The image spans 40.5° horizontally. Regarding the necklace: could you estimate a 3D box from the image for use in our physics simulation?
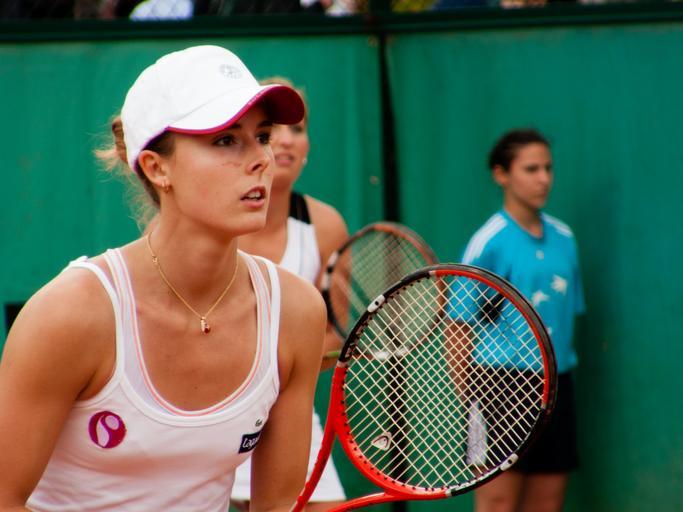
[{"bbox_3d":[-0.609,0.166,3.759,0.286,0.463,0.042,1,18,17],"label":"necklace"}]

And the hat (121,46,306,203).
[{"bbox_3d":[-0.557,-0.668,3.859,0.768,0.447,0.594,-20,-2,34],"label":"hat"}]
